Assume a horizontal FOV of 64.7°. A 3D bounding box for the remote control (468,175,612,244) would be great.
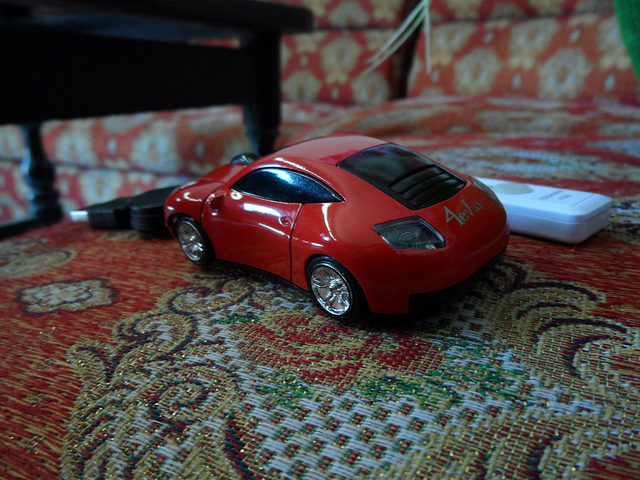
[{"bbox_3d":[0.324,-0.040,0.775,0.195,0.034,0.084,10,25,29],"label":"remote control"}]
